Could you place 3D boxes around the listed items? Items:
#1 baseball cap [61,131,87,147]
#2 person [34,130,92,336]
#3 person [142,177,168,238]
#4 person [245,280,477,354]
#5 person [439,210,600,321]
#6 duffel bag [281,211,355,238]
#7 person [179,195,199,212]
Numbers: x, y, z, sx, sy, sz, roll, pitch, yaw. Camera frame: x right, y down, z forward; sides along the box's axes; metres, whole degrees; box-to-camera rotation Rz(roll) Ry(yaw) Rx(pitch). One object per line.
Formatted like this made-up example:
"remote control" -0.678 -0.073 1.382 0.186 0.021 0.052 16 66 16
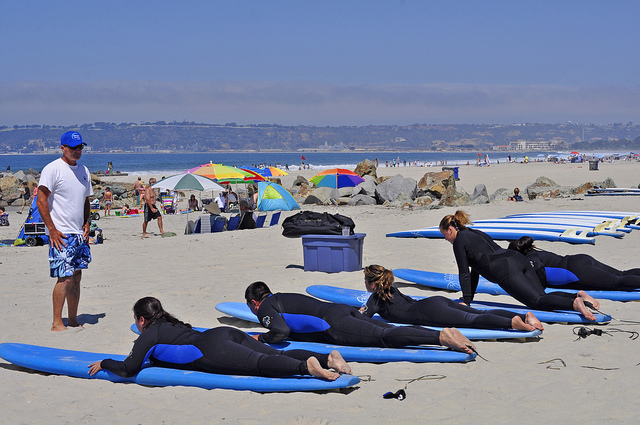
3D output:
"baseball cap" -3.625 -1.078 13.029 0.334 0.178 0.219 -3 0 35
"person" -3.766 0.302 13.163 0.824 2.970 0.383 -4 8 -30
"person" -4.040 -0.012 21.428 0.541 1.243 1.468 -1 7 -11
"person" 0.294 1.507 12.282 3.271 0.829 1.192 1 -1 20
"person" 2.821 0.817 13.143 2.664 1.277 0.754 10 15 41
"duffel bag" -0.077 0.256 16.572 0.606 0.496 1.730 -4 8 -35
"person" -4.254 -0.310 28.970 0.503 0.517 1.122 -1 6 -6
